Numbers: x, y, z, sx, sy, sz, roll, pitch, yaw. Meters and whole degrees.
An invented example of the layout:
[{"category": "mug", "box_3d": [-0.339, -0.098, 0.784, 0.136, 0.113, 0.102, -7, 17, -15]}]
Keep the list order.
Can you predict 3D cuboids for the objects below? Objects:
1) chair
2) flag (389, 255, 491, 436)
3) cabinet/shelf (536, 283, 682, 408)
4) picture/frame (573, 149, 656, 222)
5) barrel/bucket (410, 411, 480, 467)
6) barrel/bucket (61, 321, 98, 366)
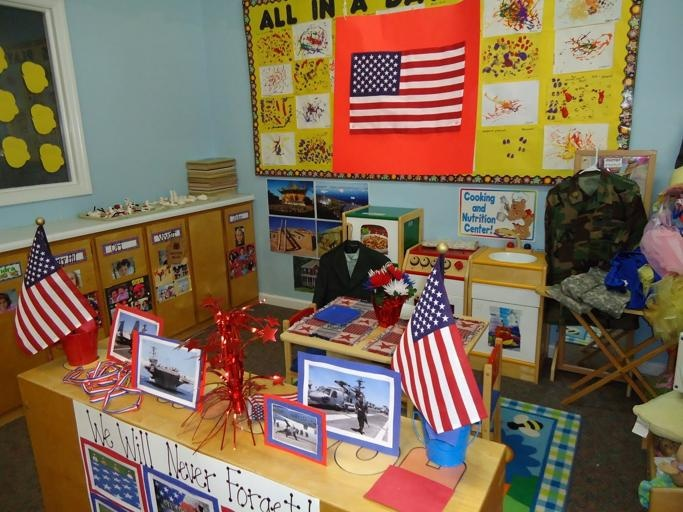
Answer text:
[{"category": "chair", "box_3d": [0.211, 0.411, 3.649, 1.125, 0.914, 0.891, 10, 20, 30]}, {"category": "flag", "box_3d": [0.415, 0.387, 2.209, 0.215, 0.694, 0.473, -6, 15, -19]}, {"category": "cabinet/shelf", "box_3d": [2.166, 0.683, 4.337, 1.015, 0.912, 0.846, 6, 16, 23]}, {"category": "picture/frame", "box_3d": [2.219, -0.546, 4.157, 0.519, 0.614, 0.042, 7, 15, 27]}, {"category": "barrel/bucket", "box_3d": [0.458, 0.841, 2.267, 0.222, 0.232, 0.194, 5, 10, 37]}, {"category": "barrel/bucket", "box_3d": [-1.452, 0.500, 2.942, 0.209, 0.208, 0.235, -5, 8, -18]}]
